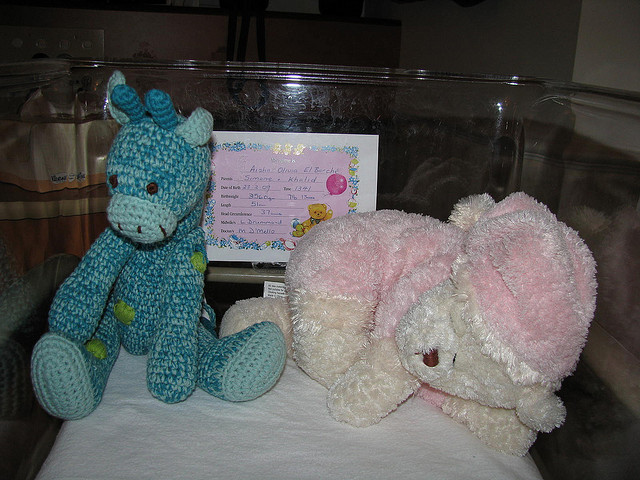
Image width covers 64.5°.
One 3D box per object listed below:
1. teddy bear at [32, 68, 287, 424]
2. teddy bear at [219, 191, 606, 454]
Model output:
[{"bbox_3d":[-0.297,0.020,0.822,0.374,0.519,0.366,-13,34,-36],"label":"teddy bear"},{"bbox_3d":[0.119,0.153,0.814,0.460,0.306,0.387,-14,38,-9],"label":"teddy bear"}]
